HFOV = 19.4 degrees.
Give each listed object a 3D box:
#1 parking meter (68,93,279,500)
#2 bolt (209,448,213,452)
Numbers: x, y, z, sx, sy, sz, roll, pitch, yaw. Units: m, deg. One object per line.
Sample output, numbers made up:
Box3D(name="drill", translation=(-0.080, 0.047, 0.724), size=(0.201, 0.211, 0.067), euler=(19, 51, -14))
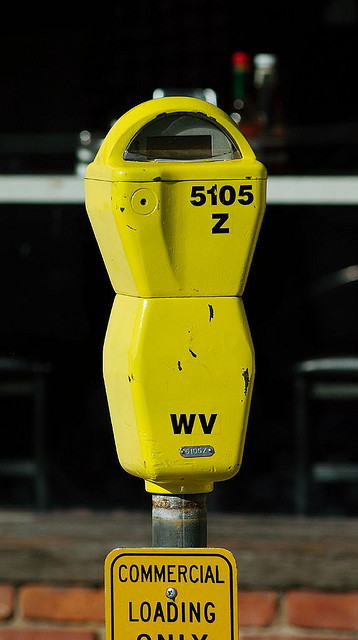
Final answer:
Box3D(name="parking meter", translation=(0.005, -0.039, 1.471), size=(0.252, 0.429, 0.394), euler=(-5, 38, -5))
Box3D(name="bolt", translation=(0.041, 0.174, 1.410), size=(0.005, 0.005, 0.003), euler=(-11, 38, -14))
